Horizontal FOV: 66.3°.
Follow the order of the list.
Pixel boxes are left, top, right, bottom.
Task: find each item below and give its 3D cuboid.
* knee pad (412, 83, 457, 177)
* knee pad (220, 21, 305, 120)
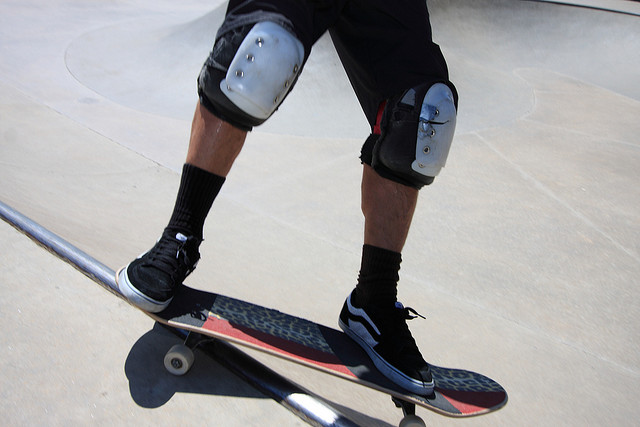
[{"bbox_3d":[0.512,-0.363,2.190,0.214,0.380,0.099,10,-2,-34],"label":"knee pad"},{"bbox_3d":[-0.250,-0.614,2.103,0.306,0.392,0.146,16,21,0],"label":"knee pad"}]
